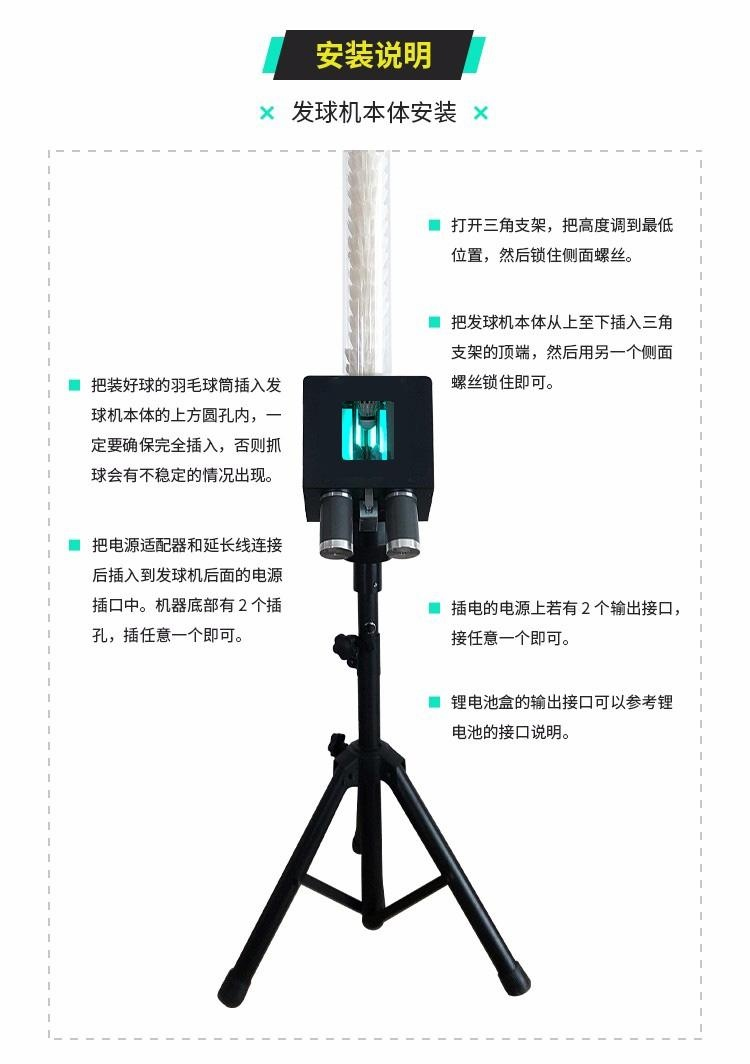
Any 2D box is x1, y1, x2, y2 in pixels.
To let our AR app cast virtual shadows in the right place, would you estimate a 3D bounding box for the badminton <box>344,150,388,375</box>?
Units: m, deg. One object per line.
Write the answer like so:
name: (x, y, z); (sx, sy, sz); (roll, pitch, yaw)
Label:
badminton: (-0.011, -0.538, 2.140); (0.088, 0.434, 0.109); (-1, 9, -1)
